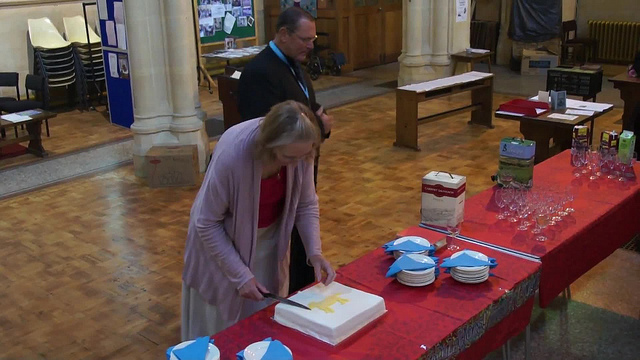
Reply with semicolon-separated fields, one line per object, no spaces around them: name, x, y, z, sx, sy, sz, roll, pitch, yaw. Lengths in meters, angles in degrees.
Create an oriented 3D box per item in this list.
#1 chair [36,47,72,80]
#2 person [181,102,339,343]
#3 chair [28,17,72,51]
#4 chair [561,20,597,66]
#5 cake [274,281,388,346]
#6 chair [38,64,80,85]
chair;-6.116;-2.692;10.771;0.741;0.644;0.847;-17;-14;-32
person;-0.516;0.372;3.531;1.226;1.850;0.673;-12;25;-17
chair;-6.364;-3.387;10.955;0.715;0.449;0.999;-19;42;-35
chair;7.199;-3.843;13.157;0.841;1.172;1.019;8;27;26
cake;0.079;0.954;3.409;0.709;0.184;0.442;8;27;25
chair;-6.038;-2.550;10.905;0.644;0.587;0.514;-11;36;-22
